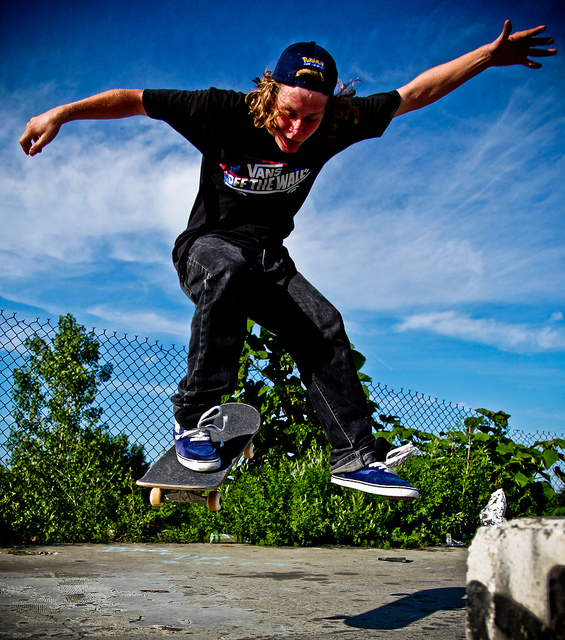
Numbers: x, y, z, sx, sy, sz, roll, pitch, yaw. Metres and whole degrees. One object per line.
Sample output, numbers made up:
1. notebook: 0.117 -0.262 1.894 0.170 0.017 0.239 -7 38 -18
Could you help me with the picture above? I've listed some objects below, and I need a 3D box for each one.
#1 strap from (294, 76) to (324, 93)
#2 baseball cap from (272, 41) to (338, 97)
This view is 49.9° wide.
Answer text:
1. strap: 0.105 -0.966 2.472 0.094 0.031 0.062 17 2 10
2. baseball cap: 0.131 -1.111 2.657 0.312 0.190 0.368 7 12 6
